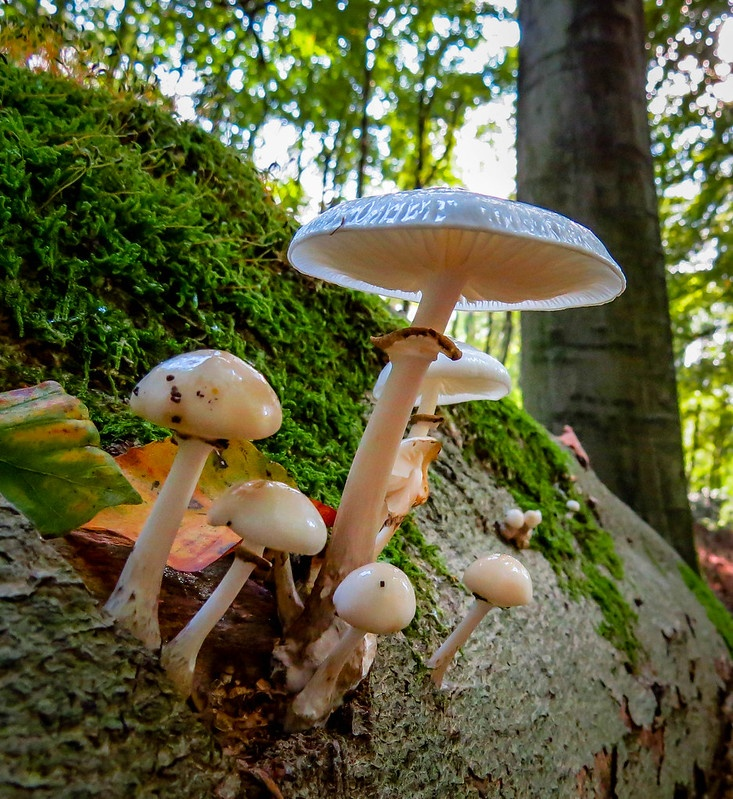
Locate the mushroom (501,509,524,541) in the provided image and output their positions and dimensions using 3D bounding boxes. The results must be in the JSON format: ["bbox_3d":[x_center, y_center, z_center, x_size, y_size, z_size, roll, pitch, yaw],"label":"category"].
[{"bbox_3d":[0.575,0.498,3.578,0.049,0.126,0.106,40,-20,-11],"label":"mushroom"}]

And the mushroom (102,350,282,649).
[{"bbox_3d":[-0.489,0.251,2.305,0.305,0.784,0.209,20,-5,-38],"label":"mushroom"}]
